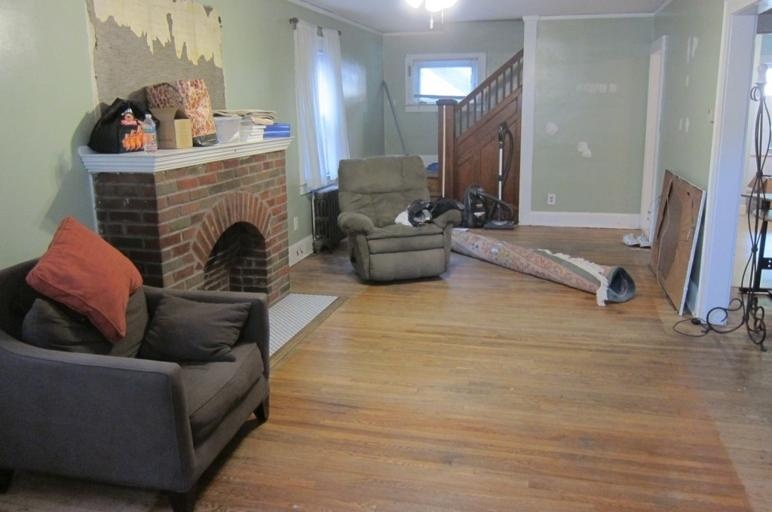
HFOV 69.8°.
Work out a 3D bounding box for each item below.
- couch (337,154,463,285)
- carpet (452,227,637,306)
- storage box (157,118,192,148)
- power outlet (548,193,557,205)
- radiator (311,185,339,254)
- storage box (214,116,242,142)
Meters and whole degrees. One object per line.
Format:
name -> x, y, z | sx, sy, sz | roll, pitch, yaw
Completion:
couch -> 0.083, -0.407, 5.975 | 1.189, 1.210, 1.074 | -4, 16, -4
carpet -> 1.567, -0.056, 6.157 | 0.584, 0.470, 2.430 | 25, -2, -38
storage box -> -1.490, -0.881, 3.997 | 0.220, 0.212, 0.211 | 1, 11, 7
power outlet -> 2.327, -0.799, 7.753 | 0.157, 0.215, 0.031 | 1, 8, 13
radiator -> -0.716, -0.449, 6.820 | 0.286, 0.763, 0.512 | 3, 17, 17
storage box -> -1.274, -1.009, 4.444 | 0.207, 0.151, 0.217 | -2, 5, -4
